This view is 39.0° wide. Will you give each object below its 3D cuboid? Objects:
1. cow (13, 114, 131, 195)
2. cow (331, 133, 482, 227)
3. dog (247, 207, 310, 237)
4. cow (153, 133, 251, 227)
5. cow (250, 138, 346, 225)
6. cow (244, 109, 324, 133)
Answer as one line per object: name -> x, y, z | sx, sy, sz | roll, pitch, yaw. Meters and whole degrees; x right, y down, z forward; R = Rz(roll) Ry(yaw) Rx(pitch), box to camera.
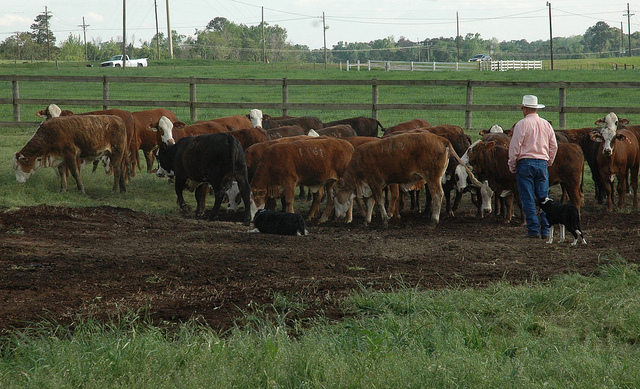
cow -> -6.928, -1.120, 25.241 | 3.005, 2.180, 0.671 | -2, 5, -21
cow -> 2.356, -0.326, 23.577 | 4.497, 2.213, 1.079 | -3, -2, 32
dog -> -1.086, 0.688, 22.424 | 1.960, 0.715, 0.691 | 4, -3, 36
cow -> -3.053, -0.469, 24.416 | 1.150, 2.367, 3.817 | -3, 5, -32
cow -> -0.679, -0.370, 24.045 | 3.736, 2.248, 1.067 | -6, 10, -41
cow -> -1.041, -2.330, 28.464 | 2.752, 1.252, 0.830 | 1, 7, -3
